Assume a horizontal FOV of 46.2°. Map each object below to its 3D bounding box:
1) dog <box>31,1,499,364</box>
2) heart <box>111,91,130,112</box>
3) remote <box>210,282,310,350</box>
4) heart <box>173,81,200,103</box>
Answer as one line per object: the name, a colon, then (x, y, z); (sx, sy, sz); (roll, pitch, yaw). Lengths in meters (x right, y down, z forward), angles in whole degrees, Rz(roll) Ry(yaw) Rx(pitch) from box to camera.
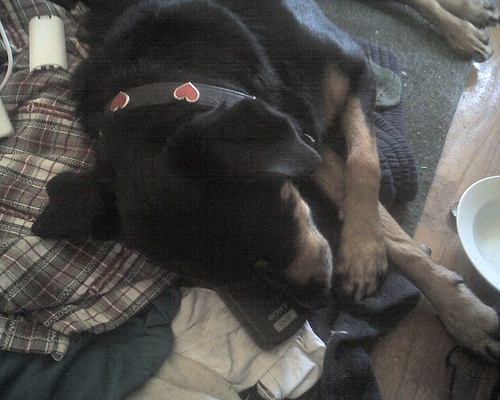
dog: (-0.001, -0.117, 1.118); (0.625, 0.295, 0.891); (-9, 55, 6)
heart: (-0.236, -0.180, 1.073); (0.038, 0.004, 0.038); (-18, 70, 36)
remote: (0.033, 0.276, 1.200); (0.223, 0.228, 0.045); (-36, 81, -8)
heart: (-0.112, -0.190, 1.044); (0.043, 0.016, 0.045); (-22, 45, -31)
